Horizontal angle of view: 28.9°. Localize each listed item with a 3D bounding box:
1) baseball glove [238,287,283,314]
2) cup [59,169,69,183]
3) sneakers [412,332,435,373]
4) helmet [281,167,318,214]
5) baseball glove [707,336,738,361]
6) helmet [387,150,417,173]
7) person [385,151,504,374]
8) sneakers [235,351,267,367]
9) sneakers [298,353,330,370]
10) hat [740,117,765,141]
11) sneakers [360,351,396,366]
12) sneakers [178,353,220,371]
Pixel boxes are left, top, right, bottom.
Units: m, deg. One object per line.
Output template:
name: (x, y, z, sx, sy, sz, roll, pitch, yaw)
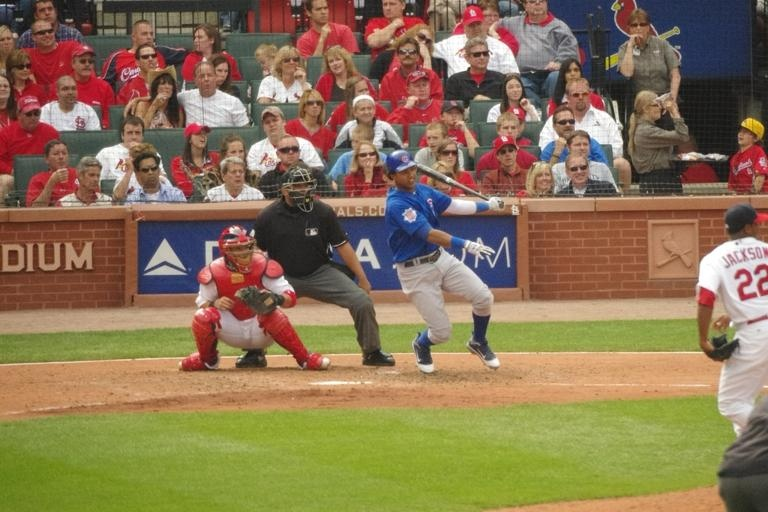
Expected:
baseball glove: (-1.727, 0.606, 20.758, 0.492, 0.199, 0.379, 23, 13, 33)
cup: (-5.404, -1.384, 25.068, 0.150, 0.235, 0.244, -2, 6, -13)
sneakers: (0.601, 1.383, 21.128, 0.231, 0.625, 0.276, -17, 2, -30)
helmet: (-1.220, -0.953, 21.180, 0.457, 0.642, 0.240, -1, 6, -4)
baseball glove: (4.254, 1.191, 18.622, 0.243, 0.372, 0.169, 25, -22, 36)
helmet: (0.237, -1.329, 20.747, 0.294, 0.199, 0.384, -12, 5, -30)
person: (0.775, 0.080, 20.981, 1.476, 3.168, 0.803, -1, 6, -1)
sneakers: (-1.918, 1.493, 21.497, 0.420, 0.258, 0.209, 4, -1, 1)
sneakers: (-0.970, 1.507, 21.281, 0.346, 0.153, 0.237, -1, 5, 9)
hat: (6.484, -2.244, 26.131, 0.335, 0.361, 0.494, 4, 8, 44)
sneakers: (-0.070, 1.478, 21.454, 0.416, 0.165, 0.208, 0, 2, -5)
sneakers: (-2.649, 1.517, 21.205, 0.489, 0.215, 0.247, 5, 2, -1)
